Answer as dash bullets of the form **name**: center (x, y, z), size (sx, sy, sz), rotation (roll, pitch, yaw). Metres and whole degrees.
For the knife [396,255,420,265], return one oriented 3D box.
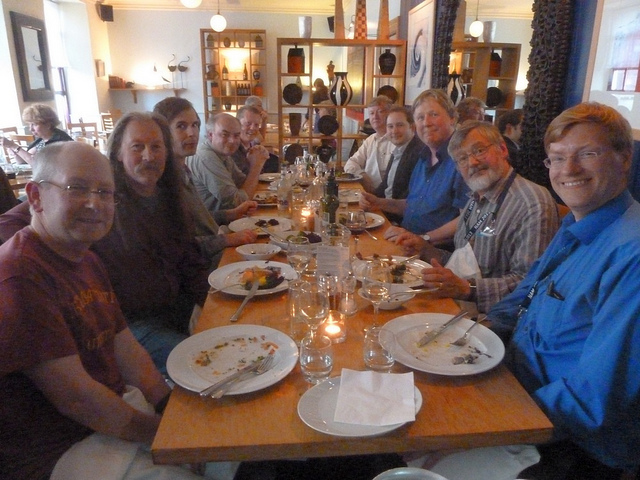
- **knife**: center (0.427, 0.094, 2.306), size (0.035, 0.025, 0.260), rotation (13, 13, 27)

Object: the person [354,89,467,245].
- **person**: center (0.720, -0.567, 3.344), size (0.670, 1.019, 0.787), rotation (-20, 39, -15)

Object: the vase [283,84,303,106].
- **vase**: center (-0.343, -1.766, 5.765), size (0.220, 0.236, 0.332), rotation (-3, 21, -4)

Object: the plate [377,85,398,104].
- **plate**: center (0.808, -1.757, 5.729), size (0.241, 0.189, 0.170), rotation (1, 21, 6)

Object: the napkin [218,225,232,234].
- **napkin**: center (-0.641, -0.072, 3.174), size (0.070, 0.080, 0.084), rotation (-1, 8, -21)

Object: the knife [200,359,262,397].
- **knife**: center (-0.270, 0.433, 1.559), size (0.056, 0.029, 0.403), rotation (21, 7, 14)

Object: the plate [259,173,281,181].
- **plate**: center (-0.482, -0.613, 4.556), size (0.190, 0.041, 0.432), rotation (-1, 20, -1)

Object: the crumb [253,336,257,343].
- **crumb**: center (-0.237, 0.359, 1.720), size (0.012, 0.003, 0.014), rotation (-8, 32, -5)

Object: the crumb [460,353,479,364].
- **crumb**: center (0.507, 0.400, 1.613), size (0.068, 0.017, 0.037), rotation (7, -5, -38)

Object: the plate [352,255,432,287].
- **plate**: center (0.412, 0.139, 2.208), size (0.197, 0.021, 0.201), rotation (-2, 17, -4)

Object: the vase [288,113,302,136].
- **vase**: center (-0.309, -1.422, 5.840), size (0.135, 0.284, 0.220), rotation (-3, 21, -6)

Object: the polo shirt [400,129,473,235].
- **polo shirt**: center (0.793, -0.415, 3.366), size (0.397, 0.686, 0.370), rotation (1, 18, -2)

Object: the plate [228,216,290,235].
- **plate**: center (-0.398, -0.104, 2.922), size (0.206, 0.020, 0.199), rotation (-9, 28, -23)

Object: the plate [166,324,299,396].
- **plate**: center (-0.308, 0.325, 1.623), size (0.403, 0.160, 0.310), rotation (-9, 18, -29)

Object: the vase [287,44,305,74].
- **vase**: center (-0.287, -2.143, 5.630), size (0.181, 0.323, 0.230), rotation (0, 21, 2)

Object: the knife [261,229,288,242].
- **knife**: center (-0.256, -0.023, 2.648), size (0.014, 0.022, 0.194), rotation (-37, 37, -26)

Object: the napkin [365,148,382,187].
- **napkin**: center (0.545, -0.773, 4.977), size (0.116, 0.319, 0.242), rotation (7, -8, -41)

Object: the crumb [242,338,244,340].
- **crumb**: center (-0.282, 0.358, 1.729), size (0.005, 0.005, 0.003), rotation (3, 23, -7)

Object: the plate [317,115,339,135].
- **plate**: center (0.091, -1.391, 5.730), size (0.250, 0.224, 0.170), rotation (-2, 21, -3)

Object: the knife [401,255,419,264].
- **knife**: center (0.439, 0.093, 2.337), size (0.012, 0.004, 0.090), rotation (45, 39, 15)

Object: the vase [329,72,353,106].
- **vase**: center (0.233, -1.776, 5.534), size (0.318, 0.402, 0.314), rotation (6, 30, 9)

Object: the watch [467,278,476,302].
- **watch**: center (0.689, 0.225, 2.155), size (0.023, 0.078, 0.086), rotation (10, -5, -2)

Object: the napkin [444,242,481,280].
- **napkin**: center (0.722, 0.096, 2.405), size (0.171, 0.069, 0.166), rotation (-30, 35, 46)

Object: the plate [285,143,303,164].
- **plate**: center (-0.322, -1.043, 5.744), size (0.217, 0.236, 0.188), rotation (-3, 21, -4)

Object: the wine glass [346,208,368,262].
- **wine glass**: center (0.220, -0.032, 2.825), size (0.131, 0.292, 0.129), rotation (-4, 13, 9)

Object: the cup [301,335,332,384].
- **cup**: center (-0.027, 0.397, 1.590), size (0.113, 0.114, 0.119), rotation (0, 16, 0)

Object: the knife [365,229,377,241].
- **knife**: center (0.295, -0.029, 2.737), size (0.015, 0.019, 0.131), rotation (-9, 22, -12)

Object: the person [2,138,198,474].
- **person**: center (-0.839, 0.228, 1.640), size (0.499, 1.047, 0.596), rotation (-8, 22, -17)
